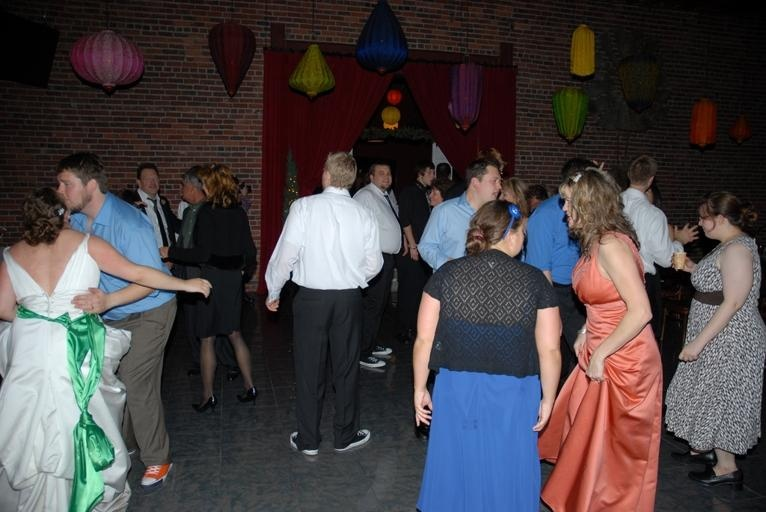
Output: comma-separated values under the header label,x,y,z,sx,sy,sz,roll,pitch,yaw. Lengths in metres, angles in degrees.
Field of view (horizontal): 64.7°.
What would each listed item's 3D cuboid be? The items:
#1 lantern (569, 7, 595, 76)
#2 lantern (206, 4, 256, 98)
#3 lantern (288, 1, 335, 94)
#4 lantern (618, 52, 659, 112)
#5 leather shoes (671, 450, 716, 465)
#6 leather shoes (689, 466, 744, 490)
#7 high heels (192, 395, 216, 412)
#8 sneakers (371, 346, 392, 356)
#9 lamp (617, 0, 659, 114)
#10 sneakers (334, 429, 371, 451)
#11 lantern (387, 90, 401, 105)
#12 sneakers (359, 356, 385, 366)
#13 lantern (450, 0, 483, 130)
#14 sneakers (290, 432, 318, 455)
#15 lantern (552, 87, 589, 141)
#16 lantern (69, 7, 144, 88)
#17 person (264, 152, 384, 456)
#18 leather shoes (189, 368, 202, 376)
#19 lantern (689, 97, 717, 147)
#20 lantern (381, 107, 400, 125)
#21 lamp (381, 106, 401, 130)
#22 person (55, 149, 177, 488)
label,x,y,z,sx,sy,sz,roll,pitch,yaw
lantern,3.226,-3.297,9.739,0.366,0.775,0.217,5,8,13
lantern,-2.188,-2.850,8.726,0.644,0.931,0.285,1,8,-15
lantern,-1.035,-2.686,8.727,0.625,0.776,0.340,3,8,4
lantern,4.361,-2.898,10.432,0.686,0.821,0.610,2,4,12
leather shoes,2.545,1.614,4.970,0.312,0.141,0.120,3,0,16
leather shoes,2.610,1.716,4.793,0.393,0.164,0.168,4,-7,8
high heels,-1.654,1.355,5.617,0.272,0.143,0.093,2,1,20
sneakers,0.005,1.074,6.922,0.174,0.070,0.099,1,16,2
lamp,4.440,-3.156,10.504,0.753,1.298,0.831,-6,29,21
sneakers,-0.249,1.530,5.168,0.335,0.144,0.120,-13,18,-40
lantern,0.206,-2.739,10.465,0.272,0.316,0.277,-3,10,-11
sneakers,-0.117,1.136,6.606,0.266,0.102,0.109,1,7,0
lantern,1.317,-2.830,9.671,0.502,1.798,0.494,1,-4,10
sneakers,-0.680,1.574,5.089,0.120,0.125,0.305,0,0,-16
lantern,3.122,-2.220,10.010,0.552,0.685,0.571,7,-5,3
lantern,-3.634,-2.717,8.327,0.927,1.331,0.885,0,1,-6
person,-0.493,0.393,4.988,0.902,2.456,0.373,3,8,0
leather shoes,-1.959,1.191,6.282,0.088,0.047,0.127,1,2,12
lantern,5.544,-2.309,10.445,0.392,0.736,0.190,6,9,22
lantern,0.127,-2.429,10.528,0.311,0.368,0.314,-5,14,-18
lamp,0.123,-2.401,10.635,0.387,0.551,0.398,-1,8,-3
person,-2.048,0.477,4.649,0.814,2.463,0.963,-3,4,28
